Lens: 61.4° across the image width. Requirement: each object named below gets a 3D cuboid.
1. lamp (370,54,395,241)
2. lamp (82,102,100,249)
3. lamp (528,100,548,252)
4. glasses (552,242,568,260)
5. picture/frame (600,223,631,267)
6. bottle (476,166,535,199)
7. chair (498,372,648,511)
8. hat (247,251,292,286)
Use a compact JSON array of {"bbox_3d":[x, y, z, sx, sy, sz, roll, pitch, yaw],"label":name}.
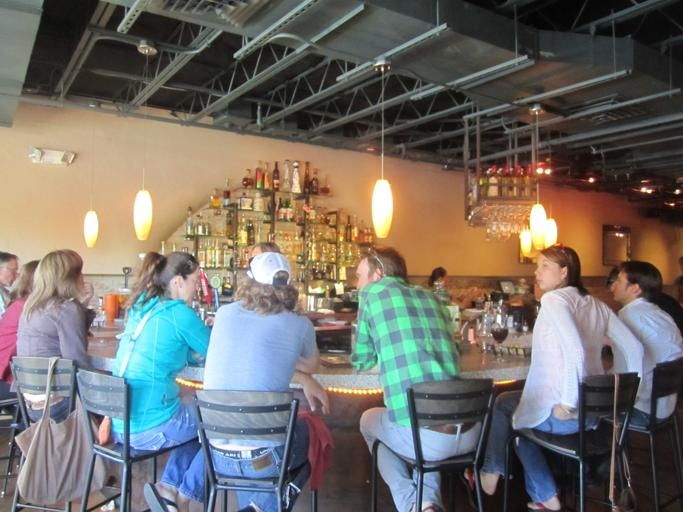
[{"bbox_3d":[0.406,-1.021,5.651,0.222,1.666,0.217,-12,16,-42],"label":"lamp"},{"bbox_3d":[-3.080,-0.889,7.134,0.197,1.637,0.869,2,0,-23],"label":"lamp"},{"bbox_3d":[2.286,-0.910,6.680,0.292,1.692,0.299,-7,20,3],"label":"lamp"},{"bbox_3d":[1.520,-0.038,3.995,0.092,0.097,0.029,2,-5,-42],"label":"glasses"},{"bbox_3d":[6.045,-0.236,12.775,0.954,1.028,0.082,3,-5,-39],"label":"picture/frame"},{"bbox_3d":[1.781,-0.754,6.201,0.616,0.343,0.232,2,0,11],"label":"bottle"},{"bbox_3d":[1.475,1.192,3.678,0.760,0.875,0.507,2,0,10],"label":"chair"},{"bbox_3d":[-0.423,0.079,3.371,0.172,0.130,0.231,3,11,-21],"label":"hat"}]
